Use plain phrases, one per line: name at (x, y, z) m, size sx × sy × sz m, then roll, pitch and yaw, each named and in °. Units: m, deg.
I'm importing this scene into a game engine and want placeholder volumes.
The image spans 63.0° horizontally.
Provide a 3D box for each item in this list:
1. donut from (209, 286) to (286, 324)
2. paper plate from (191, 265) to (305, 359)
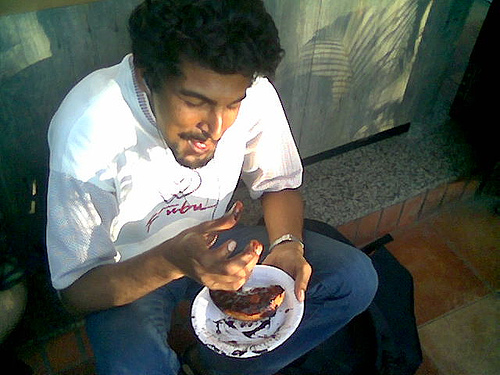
donut at (-0.003, 0.539, 1.893) m, size 0.266 × 0.067 × 0.182 m, roll -1°, pitch 48°, yaw 11°
paper plate at (0.000, 0.637, 1.913) m, size 0.511 × 0.296 × 0.367 m, roll -18°, pitch 44°, yaw -15°
